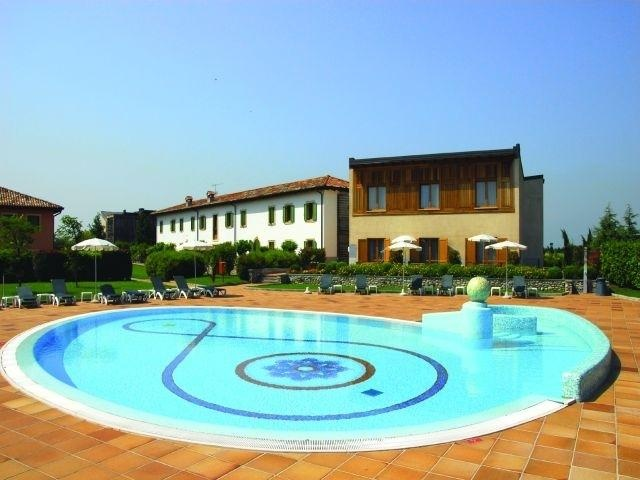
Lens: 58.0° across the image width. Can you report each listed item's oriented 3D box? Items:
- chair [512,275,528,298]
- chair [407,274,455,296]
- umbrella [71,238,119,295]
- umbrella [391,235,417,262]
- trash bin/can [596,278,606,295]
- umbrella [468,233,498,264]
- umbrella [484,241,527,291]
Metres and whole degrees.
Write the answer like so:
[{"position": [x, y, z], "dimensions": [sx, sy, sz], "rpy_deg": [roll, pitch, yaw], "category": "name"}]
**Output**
[{"position": [9.600, 2.211, 27.618], "dimensions": [0.660, 0.740, 1.074], "rpy_deg": [-1, -5, 16], "category": "chair"}, {"position": [5.803, 2.234, 29.701], "dimensions": [2.220, 1.022, 1.644], "rpy_deg": [0, 7, 13], "category": "chair"}, {"position": [-11.422, 1.182, 29.628], "dimensions": [2.166, 2.703, 2.293], "rpy_deg": [0, 5, -4], "category": "umbrella"}, {"position": [4.631, 0.623, 31.790], "dimensions": [1.549, 1.628, 1.636], "rpy_deg": [-1, 2, 23], "category": "umbrella"}, {"position": [13.671, 2.228, 27.955], "dimensions": [0.480, 0.799, 0.788], "rpy_deg": [2, 7, 27], "category": "trash bin/can"}, {"position": [9.528, 0.292, 33.185], "dimensions": [1.775, 2.110, 1.838], "rpy_deg": [1, 0, 38], "category": "umbrella"}, {"position": [9.792, 1.403, 30.578], "dimensions": [2.287, 2.838, 2.296], "rpy_deg": [-1, 3, -36], "category": "umbrella"}]
